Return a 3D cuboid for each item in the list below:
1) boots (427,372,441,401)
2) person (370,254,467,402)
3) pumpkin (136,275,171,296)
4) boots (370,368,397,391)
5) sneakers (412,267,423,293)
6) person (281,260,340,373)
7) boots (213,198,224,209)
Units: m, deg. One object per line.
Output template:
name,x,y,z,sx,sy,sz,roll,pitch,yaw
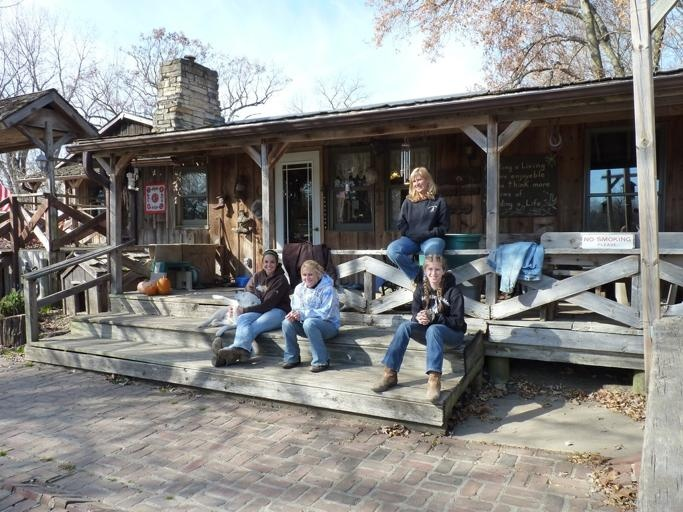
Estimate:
boots,0.968,1.361,5.991,0.138,0.229,0.269,0,11,10
person,0.931,0.723,6.373,0.705,1.373,1.100,5,12,30
pumpkin,-3.327,0.524,10.106,0.498,0.255,0.318,-5,-2,20
boots,0.477,1.361,6.285,0.383,0.269,0.136,1,1,-43
sneakers,1.045,0.336,7.844,0.099,0.292,0.208,15,-19,-34
person,-0.404,0.727,7.147,0.673,1.280,0.765,1,11,12
boots,-2.600,-1.101,12.102,0.277,0.267,0.112,6,13,34
